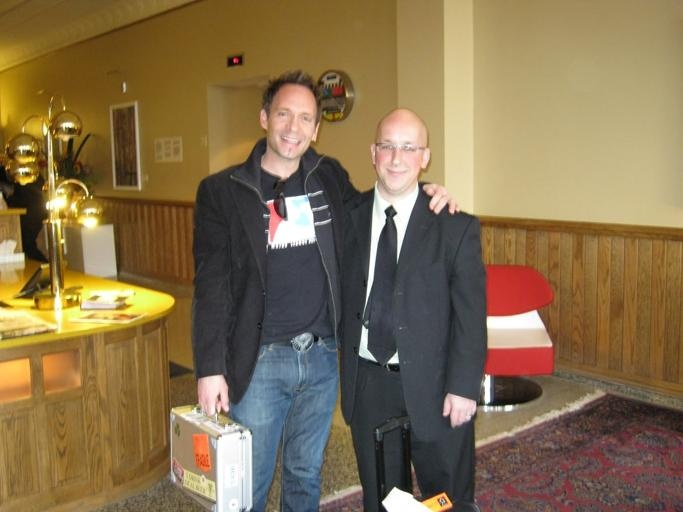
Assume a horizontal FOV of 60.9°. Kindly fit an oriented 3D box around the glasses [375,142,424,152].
[{"bbox_3d":[0.275,-0.513,2.734,0.222,0.039,0.058,1,14,4],"label":"glasses"}]

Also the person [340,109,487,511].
[{"bbox_3d":[0.340,0.307,2.800,0.692,1.967,0.521,1,13,8],"label":"person"}]
